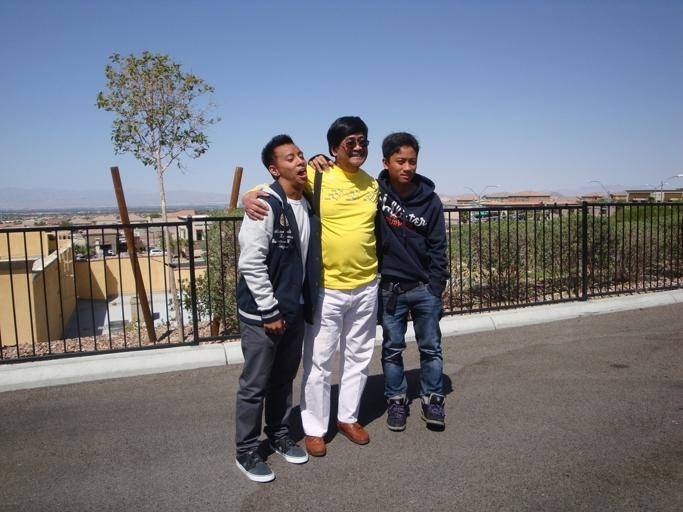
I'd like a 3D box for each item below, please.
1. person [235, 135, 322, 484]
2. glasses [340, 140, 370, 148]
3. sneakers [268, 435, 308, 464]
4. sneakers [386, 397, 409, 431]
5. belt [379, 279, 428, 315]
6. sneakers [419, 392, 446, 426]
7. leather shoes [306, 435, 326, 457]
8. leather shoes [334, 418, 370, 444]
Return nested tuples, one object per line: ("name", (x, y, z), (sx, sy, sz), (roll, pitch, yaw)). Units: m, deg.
("person", (-0.500, 0.346, 3.239), (0.730, 2.468, 0.443), (-8, 11, -40))
("glasses", (0.124, -0.877, 3.356), (0.179, 0.064, 0.128), (-2, 9, -6))
("sneakers", (-0.407, 1.496, 3.352), (0.316, 0.131, 0.138), (5, 7, 43))
("sneakers", (0.486, 1.363, 3.805), (0.165, 0.260, 0.198), (-1, 9, 4))
("belt", (0.490, 0.354, 3.779), (0.293, 0.218, 0.256), (0, 6, 6))
("sneakers", (0.818, 1.336, 3.800), (0.207, 0.306, 0.242), (0, 9, 7))
("leather shoes", (-0.203, 1.502, 3.443), (0.082, 0.098, 0.217), (2, -6, -23))
("leather shoes", (0.090, 1.455, 3.662), (0.119, 0.132, 0.295), (-2, 3, -43))
